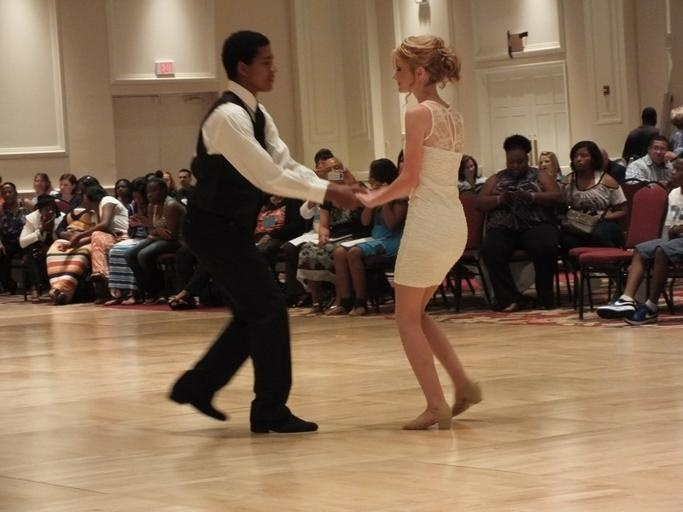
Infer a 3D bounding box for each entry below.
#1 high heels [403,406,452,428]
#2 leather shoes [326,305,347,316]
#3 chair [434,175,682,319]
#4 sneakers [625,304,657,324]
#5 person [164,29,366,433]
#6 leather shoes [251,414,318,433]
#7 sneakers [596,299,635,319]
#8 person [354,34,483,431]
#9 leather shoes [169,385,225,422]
[{"bbox_3d":[0.376,0.709,2.817,0.217,0.097,0.065,-2,4,3],"label":"high heels"},{"bbox_3d":[-0.048,0.596,6.907,0.254,0.084,0.088,2,-5,-32],"label":"leather shoes"},{"bbox_3d":[2.440,-0.067,6.704,1.399,1.854,1.178,2,-2,-18],"label":"chair"},{"bbox_3d":[2.481,0.478,5.289,0.259,0.156,0.088,-3,4,-13],"label":"sneakers"},{"bbox_3d":[-0.399,-0.113,2.901,0.869,1.845,0.406,-1,5,24],"label":"person"},{"bbox_3d":[-0.247,0.751,2.894,0.320,0.082,0.102,-2,-2,-2],"label":"leather shoes"},{"bbox_3d":[2.278,0.455,5.383,0.393,0.153,0.125,-3,-41,14],"label":"sneakers"},{"bbox_3d":[0.366,-0.121,2.899,0.465,1.785,0.374,-3,5,10],"label":"person"},{"bbox_3d":[-0.678,0.682,3.030,0.287,0.055,0.139,16,-2,-12],"label":"leather shoes"}]
